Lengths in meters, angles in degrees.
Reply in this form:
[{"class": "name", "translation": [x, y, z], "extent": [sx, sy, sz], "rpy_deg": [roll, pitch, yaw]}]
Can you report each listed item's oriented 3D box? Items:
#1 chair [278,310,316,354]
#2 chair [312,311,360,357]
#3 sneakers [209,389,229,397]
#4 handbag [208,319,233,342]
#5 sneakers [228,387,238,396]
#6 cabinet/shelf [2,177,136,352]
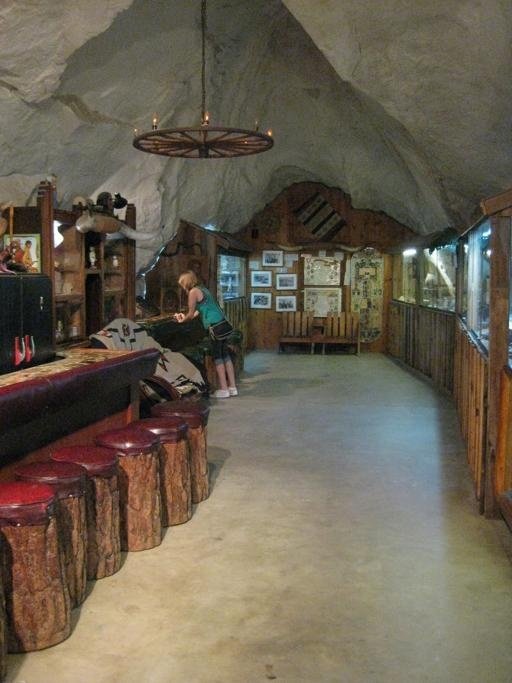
[{"class": "chair", "translation": [0.976, -0.254, 13.084], "extent": [1.002, 1.269, 0.928], "rpy_deg": [0, 4, 4]}, {"class": "chair", "translation": [1.974, -0.188, 12.994], "extent": [1.093, 0.848, 0.423], "rpy_deg": [0, 0, 5]}, {"class": "sneakers", "translation": [-0.538, 0.730, 7.659], "extent": [0.272, 0.117, 0.107], "rpy_deg": [2, 6, 7]}, {"class": "handbag", "translation": [-0.508, -0.162, 7.472], "extent": [0.316, 0.308, 0.161], "rpy_deg": [-6, 13, -19]}, {"class": "sneakers", "translation": [-0.356, 0.710, 7.731], "extent": [0.117, 0.137, 0.320], "rpy_deg": [0, -2, 3]}, {"class": "cabinet/shelf", "translation": [-1.655, -0.679, 4.654], "extent": [0.304, 1.168, 1.823], "rpy_deg": [-1, 6, 6]}]
